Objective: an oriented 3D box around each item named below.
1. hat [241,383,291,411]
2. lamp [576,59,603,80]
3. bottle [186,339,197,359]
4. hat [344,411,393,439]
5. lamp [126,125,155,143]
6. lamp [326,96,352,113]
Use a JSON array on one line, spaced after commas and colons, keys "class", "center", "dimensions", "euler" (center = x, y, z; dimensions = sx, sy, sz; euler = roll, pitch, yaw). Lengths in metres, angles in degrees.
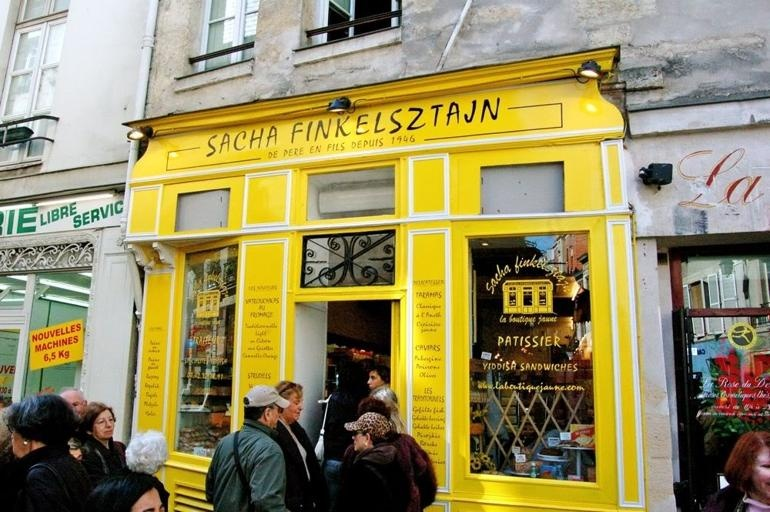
[{"class": "hat", "center": [-1.133, 1.365, 6.729], "dimensions": [0.376, 0.166, 0.224], "euler": [1, -4, -28]}, {"class": "lamp", "center": [2.397, -2.173, 8.075], "dimensions": [0.283, 0.189, 0.288], "euler": [-4, -12, 14]}, {"class": "bottle", "center": [-2.615, 1.239, 9.391], "dimensions": [0.171, 0.256, 0.031], "euler": [-10, -16, 33]}, {"class": "hat", "center": [-0.149, 1.617, 6.742], "dimensions": [0.380, 0.172, 0.227], "euler": [15, -8, 14]}, {"class": "lamp", "center": [-3.517, -1.716, 9.974], "dimensions": [0.319, 0.163, 0.541], "euler": [4, -13, -25]}, {"class": "lamp", "center": [-0.580, -1.943, 8.874], "dimensions": [0.328, 0.204, 0.240], "euler": [-4, -12, 11]}]
